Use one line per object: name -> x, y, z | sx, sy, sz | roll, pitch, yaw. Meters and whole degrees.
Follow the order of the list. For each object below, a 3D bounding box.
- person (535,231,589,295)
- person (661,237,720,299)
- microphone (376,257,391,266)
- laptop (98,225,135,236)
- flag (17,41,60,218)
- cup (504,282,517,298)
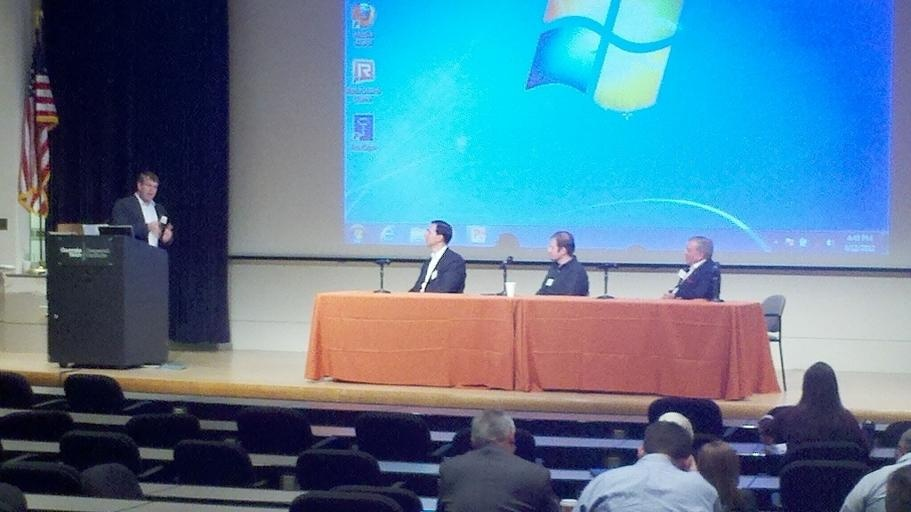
person -> 1.313, 0.183, 9.344 | 0.636, 0.895, 0.971 | 4, -1, -3
person -> 2.627, 0.196, 9.307 | 0.669, 0.808, 1.044 | 5, -1, 6
microphone -> -0.837, 0.075, 9.020 | 0.214, 0.100, 0.121 | -1, 4, 5
laptop -> -3.717, -0.276, 8.868 | 0.346, 0.105, 0.147 | 2, 0, -20
flag -> -5.539, -1.665, 10.799 | 0.404, 2.000, 0.231 | 2, 0, -28
cup -> 0.566, 0.349, 8.577 | 0.142, 0.119, 0.140 | 1, -1, 0
